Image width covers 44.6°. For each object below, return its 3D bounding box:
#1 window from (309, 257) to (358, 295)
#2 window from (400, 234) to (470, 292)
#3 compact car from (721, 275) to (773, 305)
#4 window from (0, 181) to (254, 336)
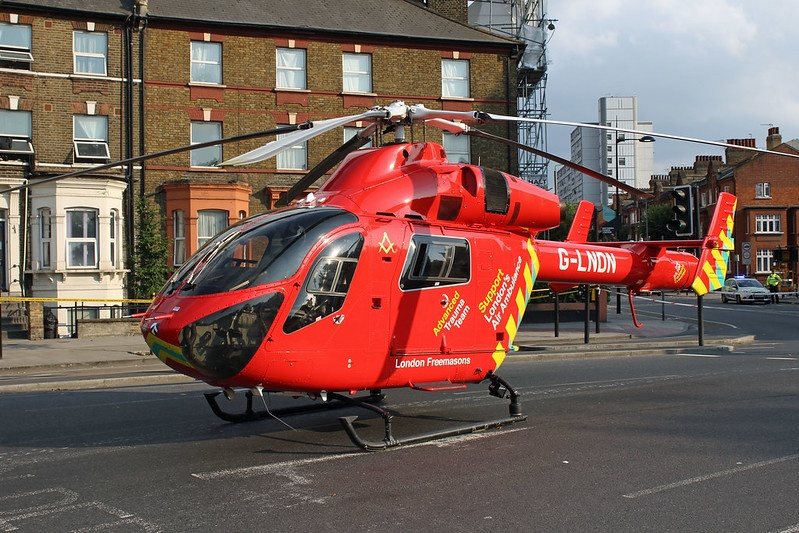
[{"bbox_3d":[-1.335,0.177,18.788,0.762,0.717,0.054,15,-2,-12],"label":"window"},{"bbox_3d":[0.662,-0.088,19.688,1.527,0.762,0.062,-1,9,-27],"label":"window"},{"bbox_3d":[18.903,1.301,52.522,2.058,1.174,3.070,0,-6,1],"label":"compact car"},{"bbox_3d":[-9.951,-0.335,36.047,8.077,3.745,5.965,-1,-1,2],"label":"window"}]
